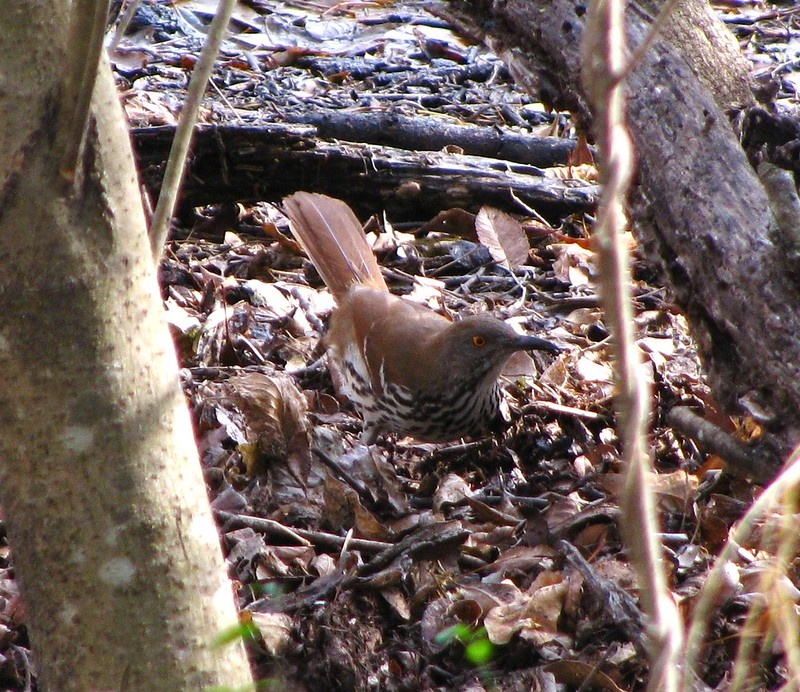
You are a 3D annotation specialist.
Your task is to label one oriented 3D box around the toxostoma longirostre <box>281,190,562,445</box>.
[{"bbox_3d":[-0.093,-0.089,4.611,1.353,0.638,0.450,39,16,36],"label":"toxostoma longirostre"}]
